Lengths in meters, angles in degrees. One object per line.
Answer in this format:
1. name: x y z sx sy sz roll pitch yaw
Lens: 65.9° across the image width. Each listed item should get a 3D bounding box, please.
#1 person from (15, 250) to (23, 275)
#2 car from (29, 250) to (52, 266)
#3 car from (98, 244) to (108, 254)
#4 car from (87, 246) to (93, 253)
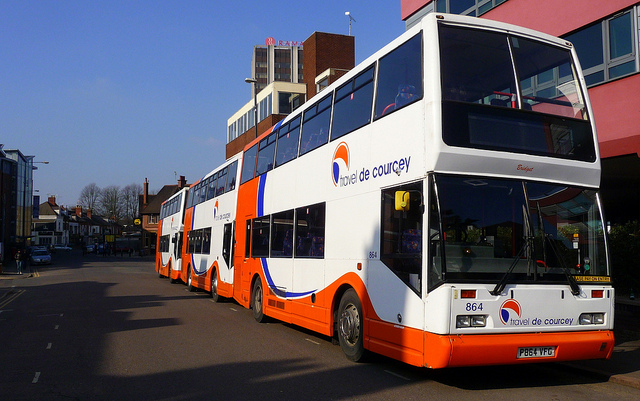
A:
1. person: -24.929 5.132 40.762 0.406 1.709 1.978 2 -4 -33
2. car: -31.179 6.331 54.900 1.780 1.578 2.299 3 -5 -36
3. car: -37.994 8.443 85.922 1.213 1.777 2.339 3 -5 -22
4. car: -43.521 9.231 92.983 0.874 1.192 1.550 2 -4 -26
